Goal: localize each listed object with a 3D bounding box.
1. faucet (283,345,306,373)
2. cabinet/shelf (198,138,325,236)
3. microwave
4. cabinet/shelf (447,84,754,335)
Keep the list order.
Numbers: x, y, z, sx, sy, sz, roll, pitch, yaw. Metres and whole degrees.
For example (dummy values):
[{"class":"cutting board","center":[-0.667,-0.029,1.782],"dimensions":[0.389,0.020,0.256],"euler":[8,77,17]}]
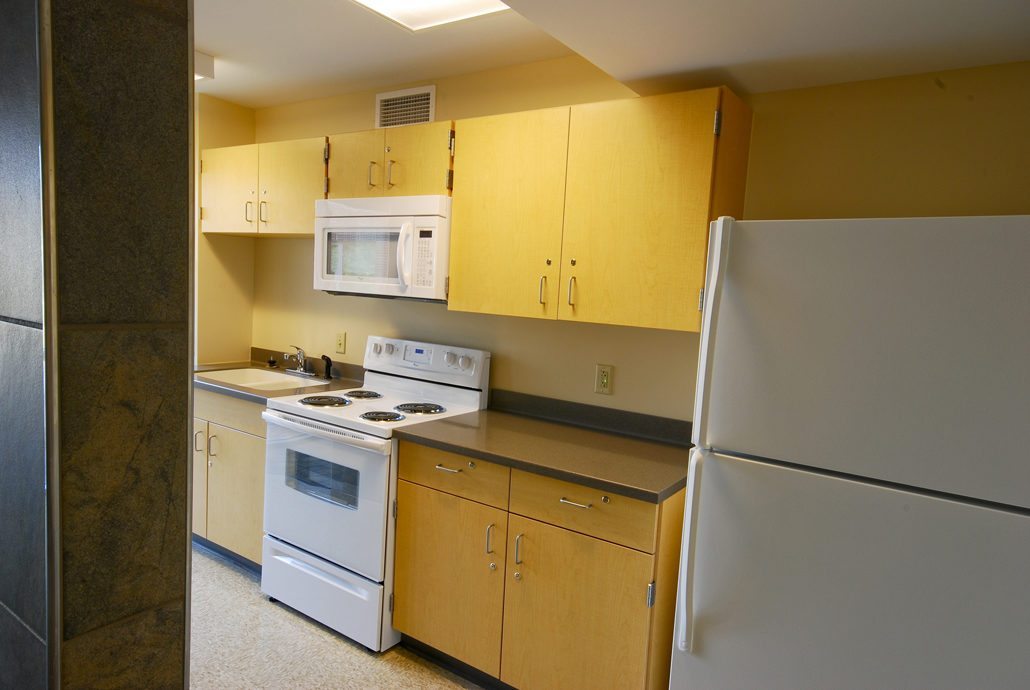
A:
[{"class":"faucet","center":[-1.274,0.076,4.313],"dimensions":[0.074,0.147,0.247],"euler":[-11,19,-36]},{"class":"cabinet/shelf","center":[-1.332,-0.827,4.029],"dimensions":[0.864,0.476,0.266],"euler":[4,5,27]},{"class":"microwave","center":[-0.580,-0.461,3.654],"dimensions":[0.787,0.461,0.499],"euler":[5,5,29]},{"class":"cabinet/shelf","center":[0.317,-0.551,3.146],"dimensions":[1.262,0.877,0.445],"euler":[6,4,34]}]
